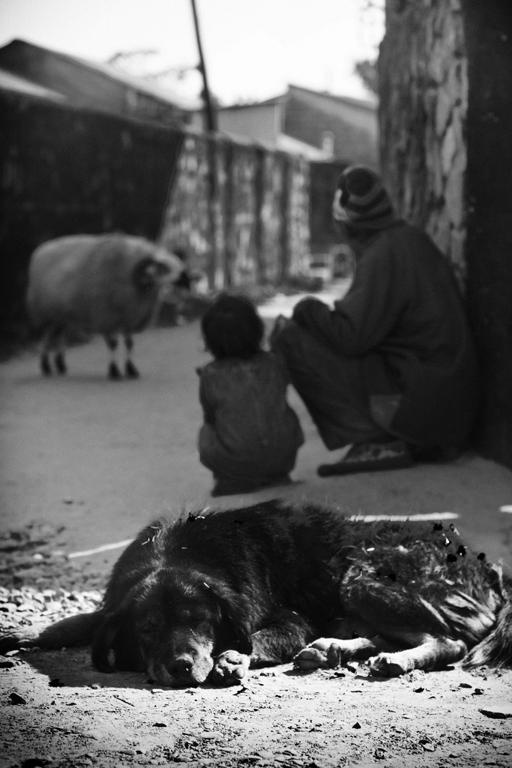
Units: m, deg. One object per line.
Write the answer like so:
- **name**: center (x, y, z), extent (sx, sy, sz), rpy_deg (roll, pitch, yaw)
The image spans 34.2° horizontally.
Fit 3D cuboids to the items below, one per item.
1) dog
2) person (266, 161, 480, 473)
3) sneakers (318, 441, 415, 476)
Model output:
- **dog**: center (-0.071, 0.641, 2.616), extent (0.758, 0.308, 0.472), rpy_deg (1, -22, -34)
- **person**: center (0.485, -0.272, 3.447), extent (0.934, 1.389, 1.068), rpy_deg (0, 3, 28)
- **sneakers**: center (0.385, 0.269, 2.931), extent (0.337, 0.122, 0.128), rpy_deg (-3, -16, -8)
